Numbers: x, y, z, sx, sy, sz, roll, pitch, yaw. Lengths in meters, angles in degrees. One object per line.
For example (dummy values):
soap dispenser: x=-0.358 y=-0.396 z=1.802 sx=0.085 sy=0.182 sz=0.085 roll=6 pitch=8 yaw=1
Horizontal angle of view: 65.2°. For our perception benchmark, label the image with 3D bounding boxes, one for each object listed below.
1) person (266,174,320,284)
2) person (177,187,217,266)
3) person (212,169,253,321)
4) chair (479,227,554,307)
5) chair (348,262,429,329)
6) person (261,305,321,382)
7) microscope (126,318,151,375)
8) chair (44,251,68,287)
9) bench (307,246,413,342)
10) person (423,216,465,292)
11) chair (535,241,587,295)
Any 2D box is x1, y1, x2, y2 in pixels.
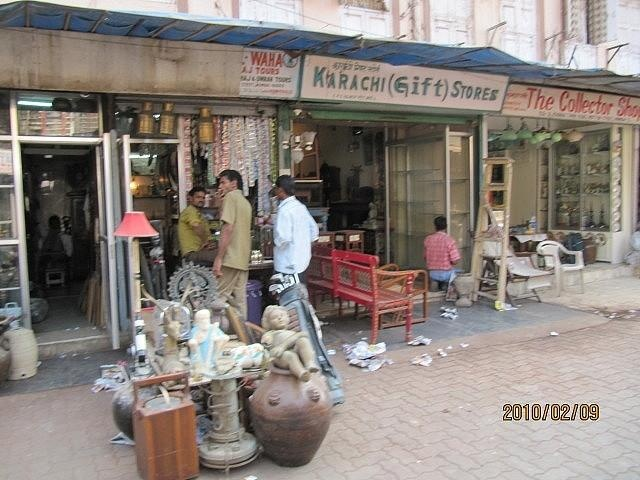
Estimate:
person: x=-0.345 y=-0.117 z=5.874 sx=0.438 sy=1.243 sz=0.486 roll=-2 pitch=16 yaw=3
person: x=-1.741 y=-0.195 z=6.961 sx=0.461 sy=1.045 sz=0.563 roll=-6 pitch=16 yaw=-12
person: x=-1.077 y=0.082 z=6.149 sx=0.408 sy=1.851 sz=0.589 roll=0 pitch=17 yaw=8
chair: x=3.250 y=0.453 z=8.380 sx=0.820 sy=0.780 sz=1.010 roll=-13 pitch=20 yaw=-35
chair: x=1.010 y=0.843 z=7.773 sx=1.083 sy=0.675 sz=0.861 roll=5 pitch=-6 yaw=-25
person: x=-0.244 y=0.842 z=4.161 sx=0.392 sy=0.241 sz=0.743 roll=-17 pitch=41 yaw=-16
microscope: x=-1.511 y=0.939 z=4.387 sx=0.248 sy=0.187 sz=0.634 roll=1 pitch=20 yaw=-15
chair: x=-5.184 y=0.518 z=9.758 sx=0.480 sy=0.600 sz=0.723 roll=-2 pitch=25 yaw=-23
bench: x=0.537 y=0.670 z=7.112 sx=0.938 sy=0.878 sz=2.204 roll=9 pitch=-2 yaw=-24
person: x=2.013 y=0.257 z=8.178 sx=0.634 sy=1.259 sz=0.382 roll=7 pitch=19 yaw=29
chair: x=4.333 y=0.465 z=9.008 sx=0.857 sy=0.659 sz=0.681 roll=3 pitch=9 yaw=12
